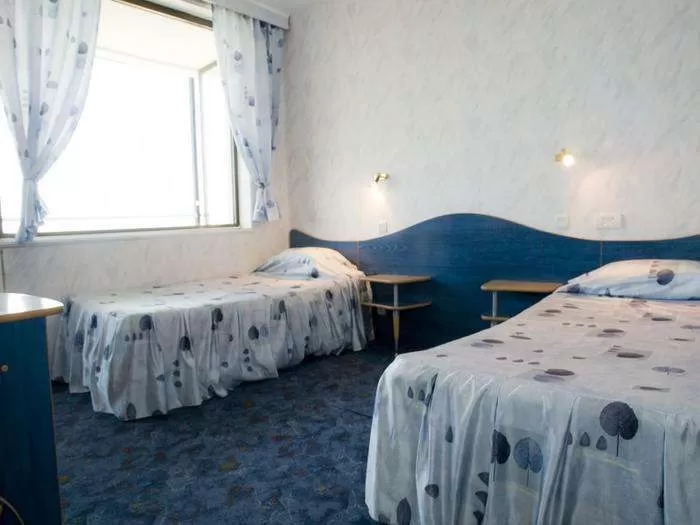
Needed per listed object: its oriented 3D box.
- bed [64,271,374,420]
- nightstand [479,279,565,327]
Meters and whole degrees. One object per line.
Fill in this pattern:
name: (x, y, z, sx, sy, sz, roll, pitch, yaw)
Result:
bed: (-0.921, 0.535, 3.324, 1.366, 0.456, 0.929, -7, 11, -42)
nightstand: (1.210, 0.194, 3.337, 0.457, 0.479, 0.346, 0, 0, 27)
